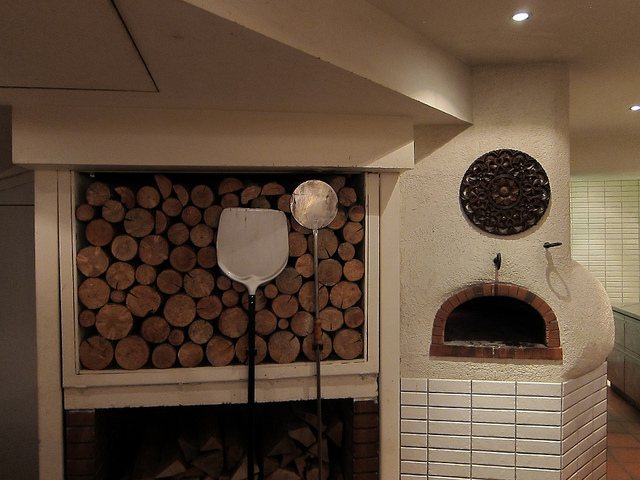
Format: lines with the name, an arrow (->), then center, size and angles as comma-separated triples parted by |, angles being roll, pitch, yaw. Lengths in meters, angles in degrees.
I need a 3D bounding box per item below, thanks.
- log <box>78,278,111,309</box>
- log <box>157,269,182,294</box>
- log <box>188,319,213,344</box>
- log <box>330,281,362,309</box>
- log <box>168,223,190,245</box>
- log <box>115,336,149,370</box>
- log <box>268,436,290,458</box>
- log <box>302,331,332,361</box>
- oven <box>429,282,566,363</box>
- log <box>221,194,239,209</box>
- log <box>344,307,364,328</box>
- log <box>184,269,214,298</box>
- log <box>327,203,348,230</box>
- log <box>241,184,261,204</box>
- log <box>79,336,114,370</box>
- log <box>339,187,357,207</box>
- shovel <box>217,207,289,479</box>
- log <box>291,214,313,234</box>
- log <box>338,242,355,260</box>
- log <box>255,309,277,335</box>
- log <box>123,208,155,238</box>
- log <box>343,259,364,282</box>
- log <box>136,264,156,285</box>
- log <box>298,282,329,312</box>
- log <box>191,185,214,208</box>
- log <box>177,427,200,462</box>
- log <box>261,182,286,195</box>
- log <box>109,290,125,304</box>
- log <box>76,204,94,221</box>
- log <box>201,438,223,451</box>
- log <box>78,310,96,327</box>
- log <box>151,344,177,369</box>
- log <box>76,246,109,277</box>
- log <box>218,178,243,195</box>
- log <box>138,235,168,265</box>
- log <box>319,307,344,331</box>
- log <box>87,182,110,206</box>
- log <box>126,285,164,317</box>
log -> -1.607, 0.364, 4.369 | 0.208, 0.220, 0.055 | 38, 9, -16
log -> -1.093, 0.306, 4.399 | 0.154, 0.170, 0.053 | 0, 2, -4
log -> -0.874, 0.669, 4.423 | 0.151, 0.167, 0.036 | 8, -1, -1
log -> 0.191, 0.414, 4.555 | 0.239, 0.208, 0.058 | 1, -2, 1
log -> -1.027, -0.046, 4.409 | 0.150, 0.155, 0.032 | 2, -2, -22
log -> -1.357, 0.815, 4.371 | 0.229, 0.241, 0.053 | 2, -2, -19
log -> -0.295, 1.584, 4.619 | 0.088, 0.171, 0.115 | 27, 23, -43
log -> -0.014, 0.797, 4.520 | 0.235, 0.208, 0.078 | 2, -2, -19
oven -> 1.461, 0.737, 4.996 | 0.701, 0.447, 0.743 | -1, -4, 9
log -> -0.668, -0.285, 4.451 | 0.097, 0.106, 0.024 | -5, 5, -17
log -> 0.251, 0.580, 4.554 | 0.146, 0.145, 0.015 | 1, -2, -7
log -> -0.879, 0.320, 4.418 | 0.191, 0.210, 0.047 | 9, -1, -8
log -> 0.147, -0.162, 4.558 | 0.170, 0.174, 0.041 | 38, -6, -4
log -> -0.514, -0.340, 4.483 | 0.141, 0.147, 0.064 | 1, -2, -11
log -> -1.639, 0.786, 4.391 | 0.305, 0.059, 0.319 | -1, 29, -14
log -> 0.221, -0.321, 4.564 | 0.170, 0.144, 0.057 | 2, -2, -34
shovel -> -0.492, 0.726, 4.307 | 0.500, 1.905, 0.116 | 1, -2, -12
log -> -0.140, -0.106, 4.517 | 0.131, 0.048, 0.128 | 37, -13, -28
log -> 0.190, 0.082, 4.544 | 0.119, 0.127, 0.019 | 1, -2, -12
log -> -0.408, 0.606, 4.539 | 0.153, 0.167, 0.117 | -17, 2, -4
log -> -1.301, -0.124, 4.369 | 0.207, 0.210, 0.066 | 2, -2, -21
log -> 0.246, 0.225, 4.548 | 0.155, 0.160, 0.022 | 1, -2, 1
log -> -1.257, 0.249, 4.381 | 0.136, 0.145, 0.036 | 2, -2, -19
log -> -0.057, 0.419, 4.489 | 0.213, 0.234, 0.052 | 5, -1, -11
log -> -0.855, -0.319, 4.444 | 0.145, 0.159, 0.088 | 3, 4, -3
log -> -1.025, 1.524, 4.597 | 0.060, 0.273, 0.169 | -1, -3, 39
log -> -0.349, -0.378, 4.484 | 0.175, 0.087, 0.024 | 1, -2, -5
log -> -1.464, 0.413, 4.366 | 0.090, 0.096, 0.022 | 26, -4, -2
log -> -1.674, -0.195, 4.328 | 0.105, 0.115, 0.026 | 21, -7, -8
log -> -0.808, 1.537, 4.547 | 0.089, 0.098, 0.025 | 42, -23, 1
log -> -1.663, 0.557, 4.346 | 0.103, 0.101, 0.061 | 51, -8, -10
log -> -1.133, 0.846, 4.398 | 0.159, 0.177, 0.031 | 1, -2, -2
log -> -1.629, 0.154, 4.342 | 0.220, 0.220, 0.046 | 1, -2, 1
log -> -0.657, -0.397, 4.451 | 0.172, 0.119, 0.027 | 2, -2, -16
log -> -1.206, 0.070, 4.392 | 0.209, 0.214, 0.052 | 1, -2, 5
log -> 0.087, 0.591, 4.604 | 0.151, 0.167, 0.149 | 1, 4, 4
log -> -1.585, -0.331, 4.338 | 0.149, 0.153, 0.038 | 1, -2, 3
log -> -1.276, 0.440, 4.411 | 0.254, 0.229, 0.088 | 2, -2, -18
